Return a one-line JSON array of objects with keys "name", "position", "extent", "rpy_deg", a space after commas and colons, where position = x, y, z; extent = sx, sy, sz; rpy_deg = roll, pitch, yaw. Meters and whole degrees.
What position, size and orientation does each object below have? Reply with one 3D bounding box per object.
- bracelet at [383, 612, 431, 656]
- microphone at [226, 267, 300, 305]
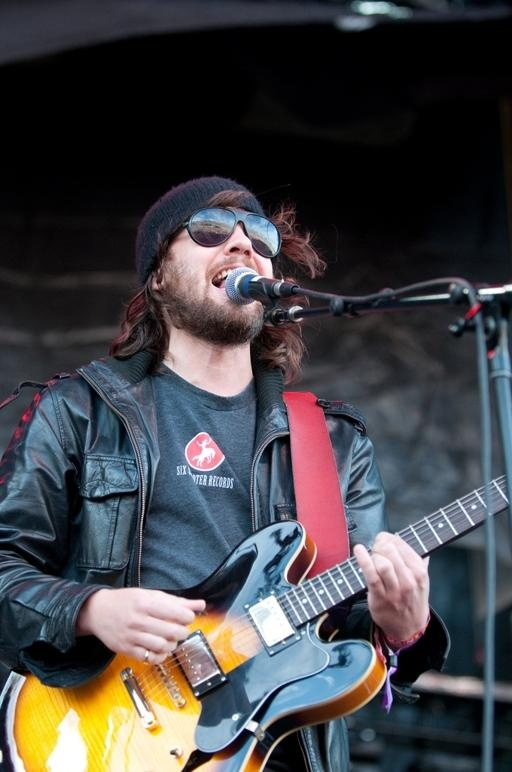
[{"name": "bracelet", "position": [0.368, 0.599, 1.794], "extent": [0.118, 0.041, 0.150], "rpy_deg": [-3, -6, 7]}, {"name": "microphone", "position": [0.011, -0.239, 1.782], "extent": [0.079, 0.073, 0.251], "rpy_deg": [23, -2, -20]}]
